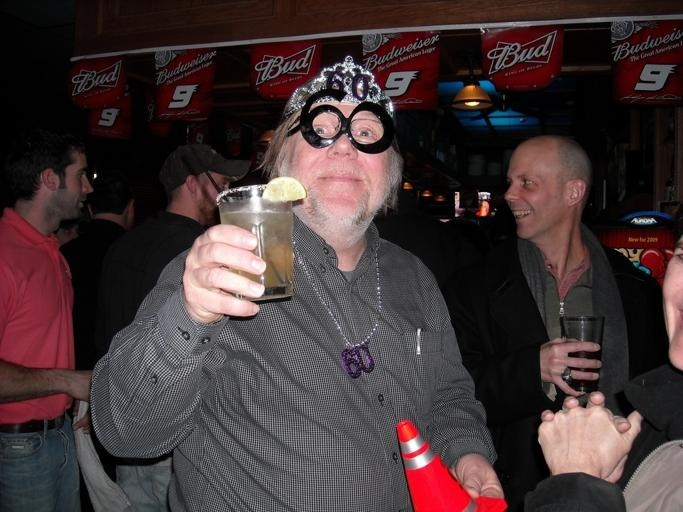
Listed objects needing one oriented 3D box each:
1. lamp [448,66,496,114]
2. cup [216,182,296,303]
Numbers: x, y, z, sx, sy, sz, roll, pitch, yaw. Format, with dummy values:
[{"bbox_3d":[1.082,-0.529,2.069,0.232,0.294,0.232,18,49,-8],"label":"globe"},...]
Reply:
[{"bbox_3d":[1.777,-2.261,7.571,0.666,0.650,0.665,-1,-9,4],"label":"lamp"},{"bbox_3d":[-0.290,-0.046,1.857,0.261,0.380,0.181,2,3,-9],"label":"cup"}]
